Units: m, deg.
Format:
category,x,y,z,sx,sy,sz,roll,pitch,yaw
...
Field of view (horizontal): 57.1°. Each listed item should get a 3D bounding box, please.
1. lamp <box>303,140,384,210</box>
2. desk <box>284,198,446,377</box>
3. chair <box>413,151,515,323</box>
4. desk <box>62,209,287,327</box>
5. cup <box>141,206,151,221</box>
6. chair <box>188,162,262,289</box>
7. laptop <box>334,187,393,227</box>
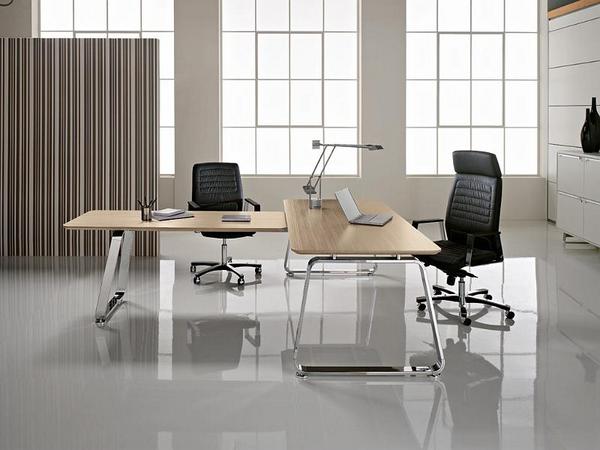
category,x,y,z,sx,sy,sz,roll,pitch,yaw
lamp,0.462,-0.519,5.825,0.828,0.678,0.148,1,4,-14
desk,0.485,0.420,4.707,1.210,0.865,1.900,0,14,-3
chair,1.408,0.105,4.969,0.723,1.450,0.726,-5,12,-2
desk,-1.145,0.315,5.092,1.733,0.826,0.931,-1,13,-6
cup,-1.352,-0.101,4.921,0.113,0.187,0.098,-1,0,-13
chair,-0.814,-0.042,6.086,0.725,1.257,0.830,-2,5,-15
laptop,0.553,-0.102,4.919,0.351,0.257,0.400,1,12,12
